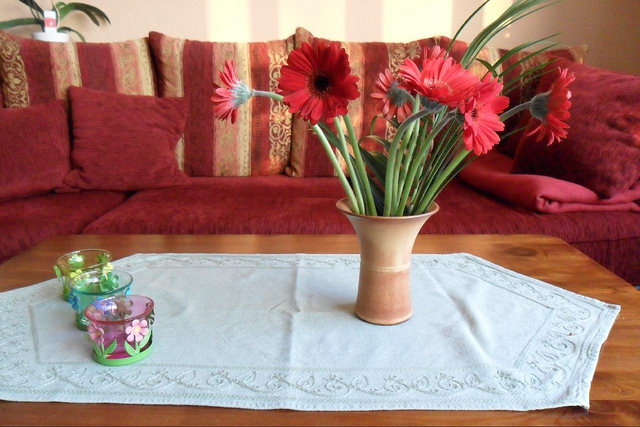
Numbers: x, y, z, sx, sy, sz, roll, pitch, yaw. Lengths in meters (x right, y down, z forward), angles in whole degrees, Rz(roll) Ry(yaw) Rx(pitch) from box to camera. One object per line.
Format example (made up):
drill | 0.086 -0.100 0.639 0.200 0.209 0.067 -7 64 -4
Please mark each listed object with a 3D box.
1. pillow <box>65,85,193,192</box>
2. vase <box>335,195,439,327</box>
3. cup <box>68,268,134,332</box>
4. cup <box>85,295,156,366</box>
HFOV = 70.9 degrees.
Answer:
pillow | -0.898 -0.349 2.125 0.559 0.447 0.270 -1 20 -20
vase | 0.140 0.108 0.962 0.220 0.230 0.212 -1 7 -16
cup | -0.436 0.154 0.941 0.118 0.095 0.128 10 24 -5
cup | -0.370 0.204 0.862 0.124 0.087 0.121 4 10 -1
